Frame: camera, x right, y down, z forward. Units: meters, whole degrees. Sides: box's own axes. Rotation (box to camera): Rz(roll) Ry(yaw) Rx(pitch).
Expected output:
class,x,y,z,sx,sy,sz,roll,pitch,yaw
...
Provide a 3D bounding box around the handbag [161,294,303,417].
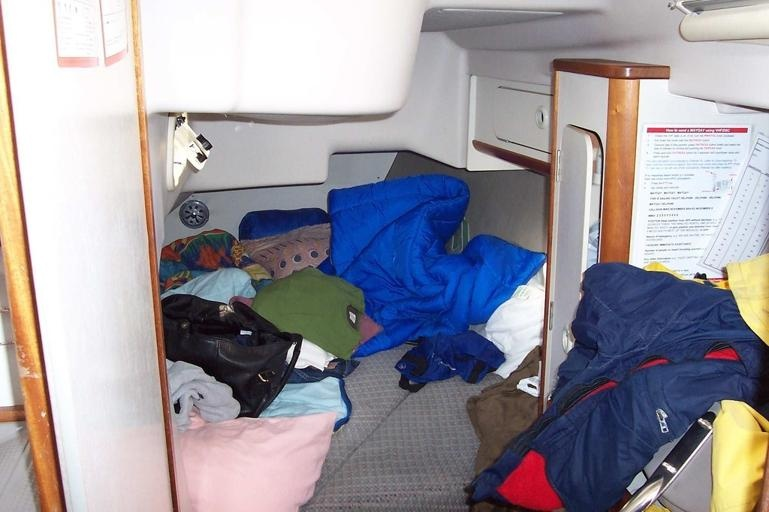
class,x,y,z,sx,sy,sz,roll,pitch,yaw
handbag,-0.617,0.406,2.285,0.509,0.186,0.378,27,52,23
